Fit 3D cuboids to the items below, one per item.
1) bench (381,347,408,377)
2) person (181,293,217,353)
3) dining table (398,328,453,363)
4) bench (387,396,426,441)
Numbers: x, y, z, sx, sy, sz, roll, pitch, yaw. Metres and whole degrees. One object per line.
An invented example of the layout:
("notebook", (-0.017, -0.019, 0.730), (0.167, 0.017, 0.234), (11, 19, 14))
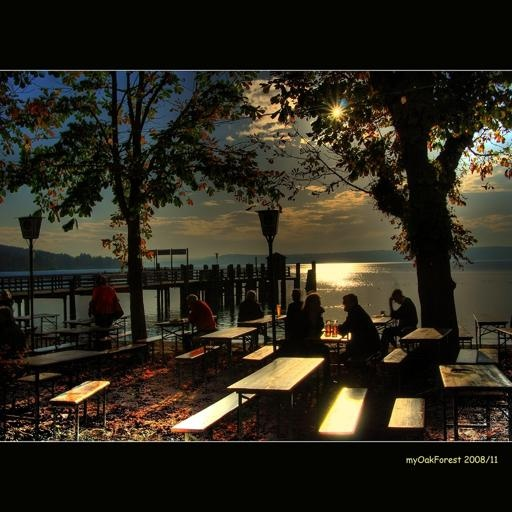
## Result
("bench", (2.386, 1.879, 9.018), (0.429, 0.430, 1.808), (-3, -1, 14))
("person", (-1.233, 1.449, 11.202), (0.754, 1.350, 0.537), (-5, 3, 24))
("dining table", (3.125, 1.595, 9.581), (0.830, 0.591, 2.722), (-3, -1, 18))
("bench", (1.775, 1.984, 6.224), (0.402, 0.425, 1.073), (-3, -1, 17))
